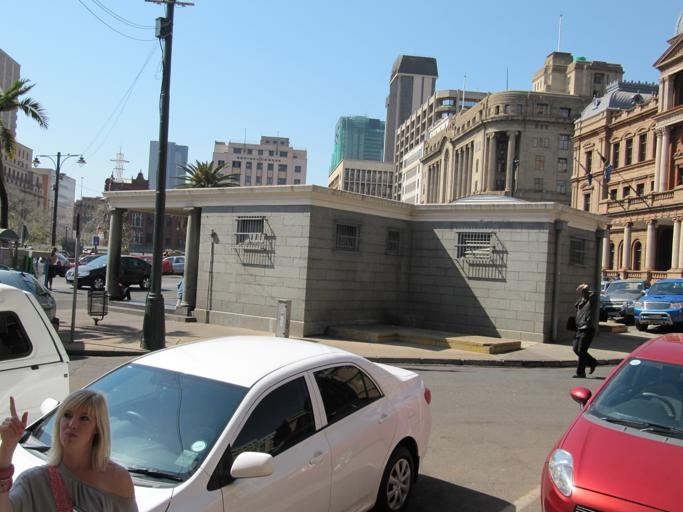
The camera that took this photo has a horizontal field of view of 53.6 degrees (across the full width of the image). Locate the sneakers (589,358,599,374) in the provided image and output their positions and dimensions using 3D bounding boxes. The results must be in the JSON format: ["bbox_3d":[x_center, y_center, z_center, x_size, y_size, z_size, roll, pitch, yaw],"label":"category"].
[{"bbox_3d":[5.468,2.390,14.636,0.181,0.446,0.146,5,20,10],"label":"sneakers"}]

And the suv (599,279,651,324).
[{"bbox_3d":[11.326,1.729,27.241,1.645,1.629,3.706,-4,-6,32],"label":"suv"}]
